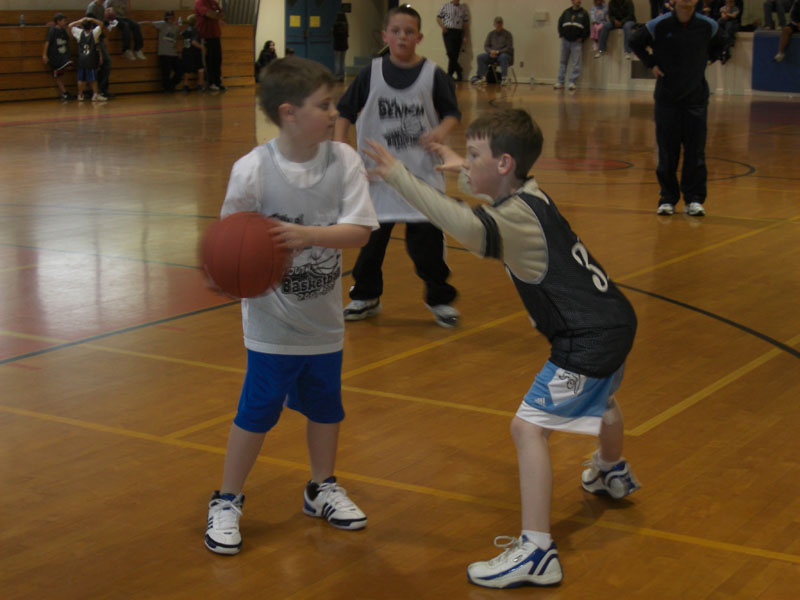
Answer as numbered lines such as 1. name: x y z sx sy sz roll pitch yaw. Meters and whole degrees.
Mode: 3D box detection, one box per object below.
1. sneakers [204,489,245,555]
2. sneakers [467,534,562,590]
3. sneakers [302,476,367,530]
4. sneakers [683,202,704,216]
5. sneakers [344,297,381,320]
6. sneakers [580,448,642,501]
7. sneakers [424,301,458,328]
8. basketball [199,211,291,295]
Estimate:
1. sneakers: -0.592 0.752 2.313 0.085 0.105 0.244 1 1 -11
2. sneakers: 0.354 0.828 2.208 0.326 0.162 0.130 1 2 -3
3. sneakers: -0.238 0.733 2.525 0.297 0.136 0.108 13 16 36
4. sneakers: 3.322 -1.014 7.809 0.100 0.107 0.251 -3 -1 5
5. sneakers: -0.274 0.069 4.860 0.286 0.123 0.102 -4 11 -33
6. sneakers: 0.807 0.669 2.762 0.113 0.182 0.266 -15 21 -39
7. sneakers: 0.298 0.099 4.754 0.103 0.095 0.222 -12 23 -25
8. basketball: -0.464 -0.140 2.166 0.236 0.251 0.248 0 0 7
